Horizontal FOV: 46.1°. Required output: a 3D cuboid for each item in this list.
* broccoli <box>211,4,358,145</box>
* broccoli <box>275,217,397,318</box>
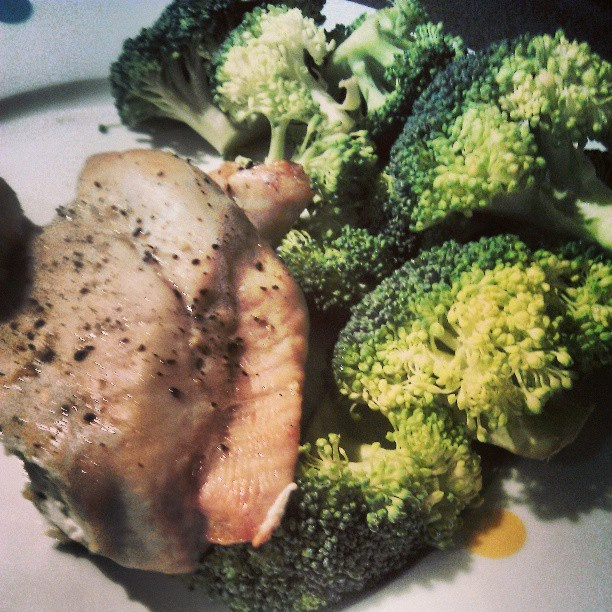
[{"bbox_3d":[-0.071,-0.650,2.010,0.322,0.297,0.383,-45,45,-7],"label":"broccoli"},{"bbox_3d":[0.101,-0.145,1.979,0.293,0.377,0.191,9,85,33],"label":"broccoli"}]
